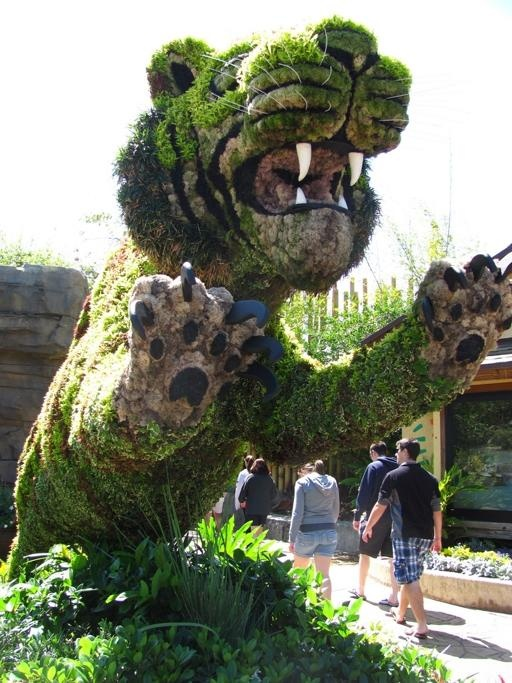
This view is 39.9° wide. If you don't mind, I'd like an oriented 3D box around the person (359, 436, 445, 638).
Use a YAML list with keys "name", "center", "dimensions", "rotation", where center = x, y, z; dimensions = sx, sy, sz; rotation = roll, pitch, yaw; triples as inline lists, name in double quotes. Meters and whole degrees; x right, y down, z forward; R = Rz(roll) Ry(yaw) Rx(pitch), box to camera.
- name: "person"
  center: [1.101, 1.438, 5.275]
  dimensions: [0.543, 1.408, 0.719]
  rotation: [5, -5, 11]

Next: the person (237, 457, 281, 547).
- name: "person"
  center: [0.010, 1.446, 6.598]
  dimensions: [0.337, 0.695, 0.526]
  rotation: [6, -5, 0]

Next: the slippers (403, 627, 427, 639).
- name: "slippers"
  center: [1.133, 2.053, 4.970]
  dimensions: [0.157, 0.066, 0.206]
  rotation: [4, -5, 16]

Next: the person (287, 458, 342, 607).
- name: "person"
  center: [0.449, 1.437, 5.490]
  dimensions: [0.363, 1.020, 0.585]
  rotation: [5, -5, 7]
